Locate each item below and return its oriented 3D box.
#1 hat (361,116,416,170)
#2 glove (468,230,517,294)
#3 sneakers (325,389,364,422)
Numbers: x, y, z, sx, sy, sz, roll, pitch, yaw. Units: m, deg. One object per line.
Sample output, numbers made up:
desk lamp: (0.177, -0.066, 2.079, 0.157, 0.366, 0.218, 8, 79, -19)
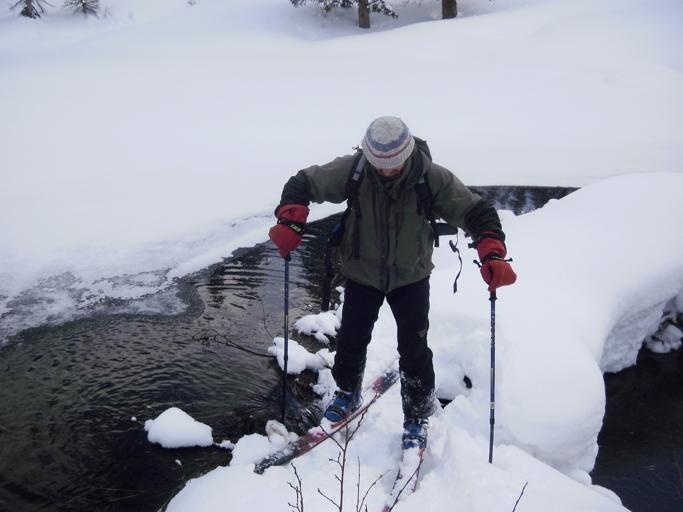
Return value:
hat: (0.457, -1.129, 6.339, 0.504, 0.326, 0.523, 0, 69, 5)
glove: (1.520, 0.057, 6.438, 0.445, 0.542, 0.203, -26, -17, 30)
sneakers: (-0.006, 1.653, 6.981, 0.242, 0.177, 0.450, 3, 34, 46)
